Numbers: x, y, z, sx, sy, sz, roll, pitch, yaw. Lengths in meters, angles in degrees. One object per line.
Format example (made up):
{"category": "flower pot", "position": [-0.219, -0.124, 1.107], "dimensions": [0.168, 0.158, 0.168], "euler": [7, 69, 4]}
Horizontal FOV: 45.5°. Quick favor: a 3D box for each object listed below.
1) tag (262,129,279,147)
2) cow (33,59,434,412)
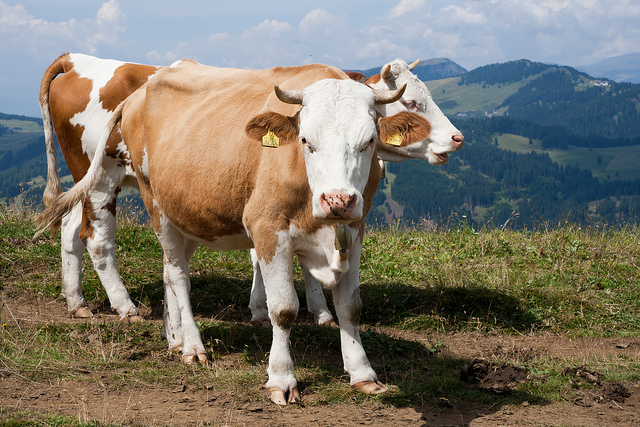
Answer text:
{"category": "tag", "position": [-0.774, -1.189, 11.834], "dimensions": [0.253, 0.289, 0.021], "euler": [4, -2, -12]}
{"category": "cow", "position": [-1.056, 0.162, 12.708], "dimensions": [4.466, 5.638, 1.510], "euler": [1, 6, 39]}
